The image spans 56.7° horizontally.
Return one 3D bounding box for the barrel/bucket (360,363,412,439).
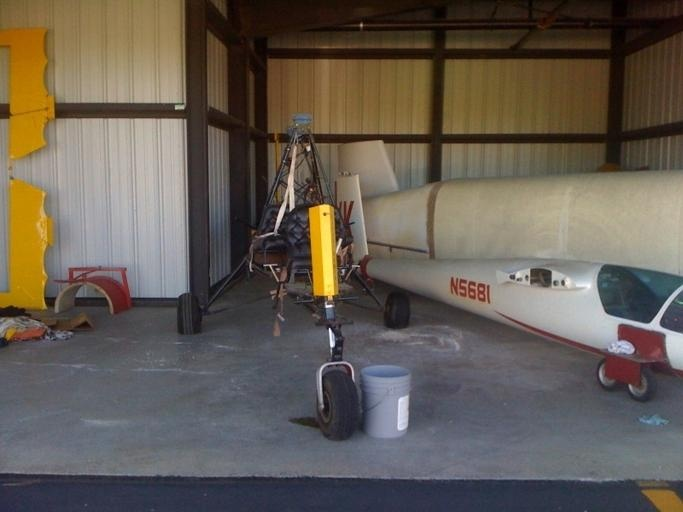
[{"bbox_3d":[0.253,1.036,4.492,0.474,0.473,0.464,1,4,0],"label":"barrel/bucket"}]
